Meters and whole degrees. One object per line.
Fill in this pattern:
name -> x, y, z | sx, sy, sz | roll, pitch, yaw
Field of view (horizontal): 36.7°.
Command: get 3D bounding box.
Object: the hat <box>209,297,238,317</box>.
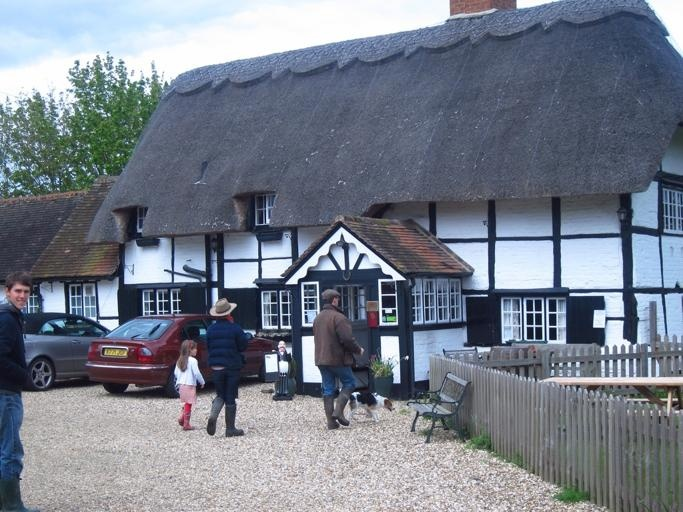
hat -> -2.201, 1.060, 19.847 | 0.468, 0.199, 0.571 | 2, 28, 24

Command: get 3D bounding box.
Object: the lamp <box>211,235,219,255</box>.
lamp -> -3.556, -0.321, 28.851 | 0.118, 0.539, 0.436 | -10, 15, -33

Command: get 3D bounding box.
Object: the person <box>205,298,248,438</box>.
person -> -2.202, 2.190, 19.583 | 0.818, 2.589, 1.081 | -3, 13, -7

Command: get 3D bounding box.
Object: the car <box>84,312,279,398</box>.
car -> -3.568, 2.107, 24.210 | 1.870, 1.515, 4.233 | -1, 1, 37

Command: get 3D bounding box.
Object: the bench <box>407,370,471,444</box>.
bench -> 1.761, 2.858, 19.407 | 0.852, 1.221, 1.480 | 2, 0, -7

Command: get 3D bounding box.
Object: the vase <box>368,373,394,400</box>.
vase -> 0.885, 2.918, 22.947 | 0.441, 0.538, 0.458 | 1, 0, 33

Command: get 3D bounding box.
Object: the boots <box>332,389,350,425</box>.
boots -> 0.009, 2.945, 19.999 | 0.338, 0.633, 0.465 | -1, 13, 2

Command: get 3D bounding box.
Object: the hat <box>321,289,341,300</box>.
hat -> -0.245, 0.780, 20.956 | 0.275, 0.151, 0.386 | 0, 2, 5

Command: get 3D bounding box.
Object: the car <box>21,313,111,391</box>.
car -> -6.744, 2.240, 25.025 | 1.265, 1.177, 2.327 | -1, 1, 44

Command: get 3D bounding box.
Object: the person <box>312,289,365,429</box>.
person -> -0.123, 1.991, 20.032 | 0.837, 2.505, 0.934 | -10, 15, -33

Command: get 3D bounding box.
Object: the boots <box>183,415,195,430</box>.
boots -> -3.009, 3.251, 20.148 | 0.170, 0.350, 0.310 | 2, 2, 28

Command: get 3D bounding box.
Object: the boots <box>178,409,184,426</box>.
boots -> -3.189, 3.234, 20.496 | 0.110, 0.280, 0.263 | 8, 31, 8

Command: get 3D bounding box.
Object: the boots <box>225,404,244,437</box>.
boots -> -2.033, 3.085, 19.448 | 0.340, 0.601, 0.398 | -3, 13, -7
